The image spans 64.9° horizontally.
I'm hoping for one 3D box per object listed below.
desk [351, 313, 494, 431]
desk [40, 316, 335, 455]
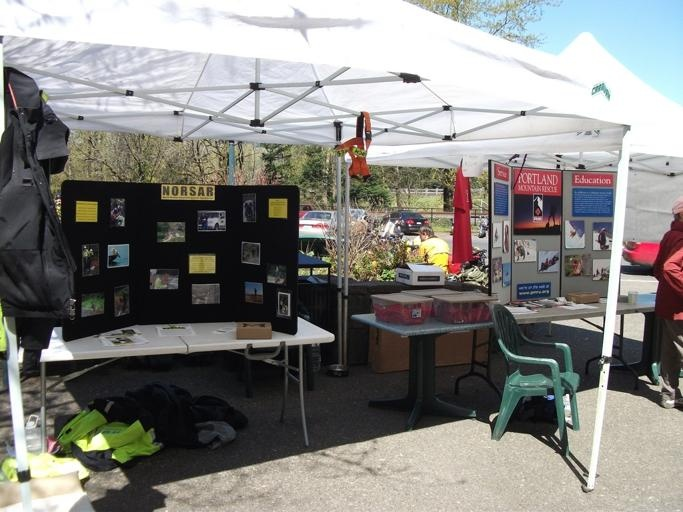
[{"bbox_3d":[0.864,1.188,5.833,1.173,1.076,0.943,-3,8,-31],"label":"desk"},{"bbox_3d":[-1.417,1.178,5.215,2.408,1.141,1.358,-1,7,-17],"label":"desk"}]
